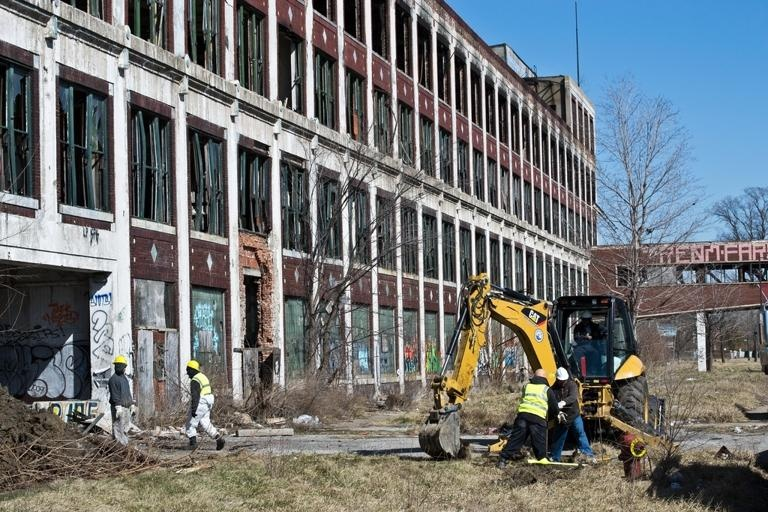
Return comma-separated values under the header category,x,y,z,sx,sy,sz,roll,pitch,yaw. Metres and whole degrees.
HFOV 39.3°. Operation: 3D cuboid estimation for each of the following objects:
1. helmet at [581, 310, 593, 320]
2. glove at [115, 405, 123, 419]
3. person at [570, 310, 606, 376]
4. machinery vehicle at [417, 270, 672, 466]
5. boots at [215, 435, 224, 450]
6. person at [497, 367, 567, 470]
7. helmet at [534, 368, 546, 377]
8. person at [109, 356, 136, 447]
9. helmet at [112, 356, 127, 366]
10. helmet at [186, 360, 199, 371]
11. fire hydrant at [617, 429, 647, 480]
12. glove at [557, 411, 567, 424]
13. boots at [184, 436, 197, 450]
category,x,y,z,sx,sy,sz,roll,pitch,yaw
helmet,5.754,1.721,30.288,0.181,0.222,0.229,0,-14,2
glove,-7.187,4.276,29.234,0.214,0.263,0.256,-2,-3,0
person,5.773,2.523,30.063,0.906,1.387,2.385,0,33,7
machinery vehicle,5.450,3.393,30.640,3.399,4.680,8.599,-6,-12,35
boots,-4.652,5.345,30.450,0.231,0.413,0.601,4,-14,-9
person,3.923,4.245,28.056,1.282,2.622,1.129,12,-16,-37
helmet,4.121,3.113,28.163,0.192,0.228,0.317,2,-11,7
person,-7.217,3.946,29.351,0.647,2.380,0.941,5,-13,-13
helmet,-7.287,2.954,29.815,0.378,0.246,0.433,1,-2,12
helmet,-5.593,3.252,31.381,0.389,0.199,0.353,21,0,-38
fire hydrant,6.477,5.212,27.891,0.640,1.293,1.691,-1,-14,13
glove,4.686,4.258,28.083,0.225,0.451,0.271,-2,1,16
boots,-5.435,5.318,30.363,0.287,0.384,0.304,1,0,30
